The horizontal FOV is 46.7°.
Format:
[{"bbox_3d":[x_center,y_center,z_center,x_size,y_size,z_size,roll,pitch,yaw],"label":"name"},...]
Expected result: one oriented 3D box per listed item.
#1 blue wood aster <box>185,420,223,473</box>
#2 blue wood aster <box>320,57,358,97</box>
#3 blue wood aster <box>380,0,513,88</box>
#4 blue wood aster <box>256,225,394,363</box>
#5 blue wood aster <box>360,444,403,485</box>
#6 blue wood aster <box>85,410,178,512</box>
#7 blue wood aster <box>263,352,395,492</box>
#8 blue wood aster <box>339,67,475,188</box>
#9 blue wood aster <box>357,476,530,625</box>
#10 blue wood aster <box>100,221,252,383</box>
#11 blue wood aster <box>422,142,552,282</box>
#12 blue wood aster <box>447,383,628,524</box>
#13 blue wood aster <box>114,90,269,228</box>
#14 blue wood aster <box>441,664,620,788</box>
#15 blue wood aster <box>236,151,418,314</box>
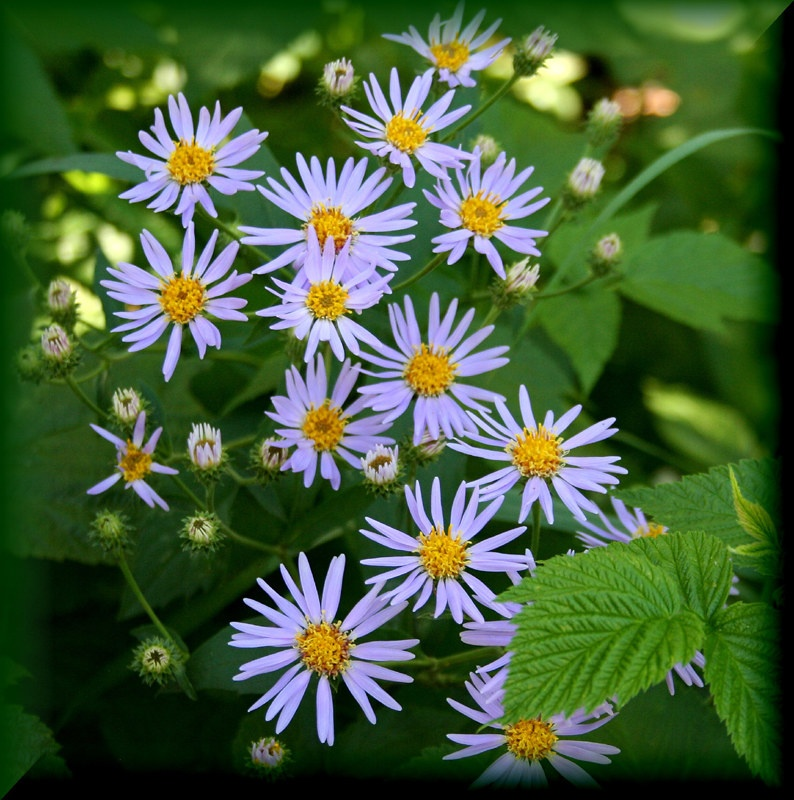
[{"bbox_3d":[-0.170,0.042,0.809,0.028,0.042,0.041,-1,39,-3],"label":"blue wood aster"},{"bbox_3d":[-0.056,-0.301,0.862,0.028,0.025,0.039,-4,79,22],"label":"blue wood aster"},{"bbox_3d":[0.064,-0.345,0.904,0.085,0.036,0.093,21,78,3],"label":"blue wood aster"},{"bbox_3d":[-0.058,-0.095,0.807,0.110,0.106,0.042,-6,73,37],"label":"blue wood aster"},{"bbox_3d":[-0.014,0.056,0.792,0.028,0.027,0.034,0,57,3],"label":"blue wood aster"},{"bbox_3d":[-0.246,0.059,0.838,0.097,0.105,0.028,-40,77,-3],"label":"blue wood aster"},{"bbox_3d":[-0.069,0.016,0.806,0.111,0.046,0.115,34,42,21],"label":"blue wood aster"},{"bbox_3d":[0.007,-0.262,0.864,0.125,0.131,0.050,3,99,36],"label":"blue wood aster"},{"bbox_3d":[0.036,0.138,0.807,0.162,0.165,0.056,1,98,-36],"label":"blue wood aster"},{"bbox_3d":[-0.200,-0.107,0.837,0.127,0.151,0.055,-17,82,3],"label":"blue wood aster"},{"bbox_3d":[0.081,-0.192,0.867,0.120,0.118,0.048,-16,91,-42],"label":"blue wood aster"},{"bbox_3d":[0.120,0.062,0.833,0.149,0.051,0.158,15,30,31],"label":"blue wood aster"},{"bbox_3d":[-0.192,-0.223,0.836,0.135,0.053,0.136,-29,41,-26],"label":"blue wood aster"},{"bbox_3d":[0.125,0.308,0.835,0.161,0.175,0.050,15,89,32],"label":"blue wood aster"},{"bbox_3d":[-0.055,-0.169,0.839,0.135,0.150,0.047,9,82,18],"label":"blue wood aster"}]
